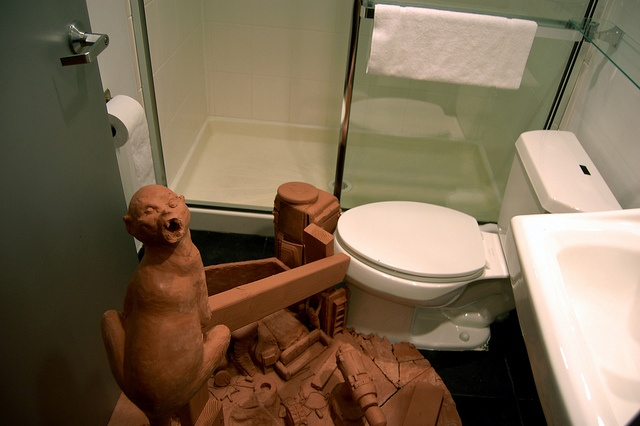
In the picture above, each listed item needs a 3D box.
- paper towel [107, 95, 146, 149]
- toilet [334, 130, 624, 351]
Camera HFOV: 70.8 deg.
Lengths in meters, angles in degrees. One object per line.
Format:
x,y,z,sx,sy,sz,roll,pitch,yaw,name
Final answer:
-0.667,-0.313,1.511,0.094,0.111,0.129,8,41,10,paper towel
0.418,0.003,1.793,0.952,0.806,0.653,1,48,3,toilet
